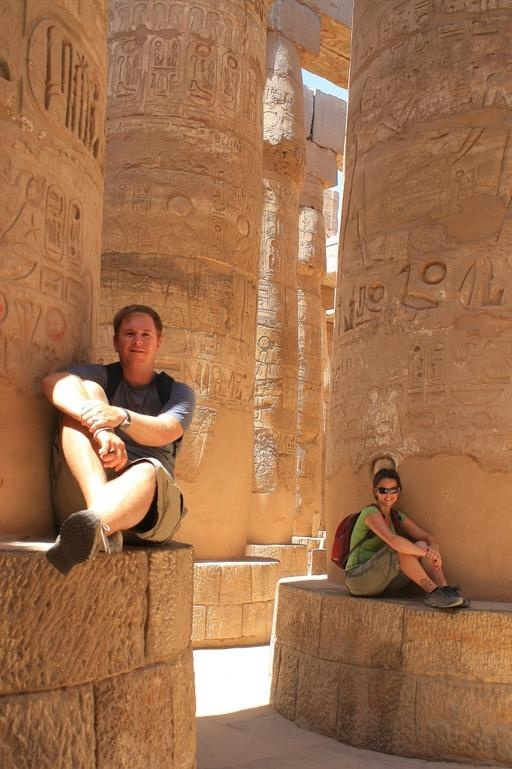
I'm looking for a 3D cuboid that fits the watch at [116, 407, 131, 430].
[{"bbox_3d":[-0.467,0.125,2.513,0.028,0.066,0.057,-1,-3,-5],"label":"watch"}]

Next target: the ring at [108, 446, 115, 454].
[{"bbox_3d":[-0.466,0.209,2.270,0.024,0.018,0.006,9,-8,-40],"label":"ring"}]

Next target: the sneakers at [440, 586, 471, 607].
[{"bbox_3d":[1.031,1.095,3.684,0.084,0.098,0.246,-3,-21,0],"label":"sneakers"}]

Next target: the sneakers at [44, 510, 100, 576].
[{"bbox_3d":[-0.438,0.396,1.799,0.105,0.164,0.069,43,-11,11],"label":"sneakers"}]

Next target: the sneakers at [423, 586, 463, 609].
[{"bbox_3d":[0.950,1.072,3.602,0.094,0.065,0.152,10,-13,-37],"label":"sneakers"}]

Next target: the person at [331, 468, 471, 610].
[{"bbox_3d":[0.778,0.801,3.978,0.607,0.757,0.866,4,-6,0],"label":"person"}]
